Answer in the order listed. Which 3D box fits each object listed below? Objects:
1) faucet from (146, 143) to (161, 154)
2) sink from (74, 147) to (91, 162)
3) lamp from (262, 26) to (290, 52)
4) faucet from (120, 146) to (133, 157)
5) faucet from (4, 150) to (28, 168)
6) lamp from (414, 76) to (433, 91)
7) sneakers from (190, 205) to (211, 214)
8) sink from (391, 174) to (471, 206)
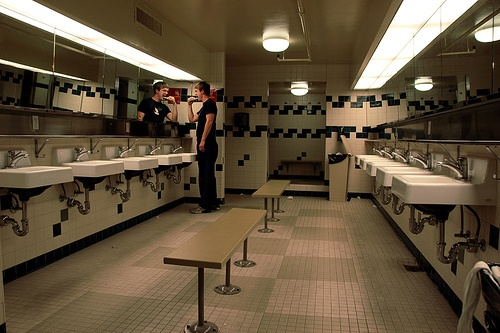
[{"bbox_3d":[-1.781,-0.317,6.420,0.194,0.175,0.562,0,9,-4],"label":"faucet"},{"bbox_3d":[-2.293,-0.160,4.730,0.154,0.152,0.226,0,1,0],"label":"sink"},{"bbox_3d":[0.481,-2.381,6.493,0.511,0.361,0.592,1,9,2],"label":"lamp"},{"bbox_3d":[-1.999,-0.246,5.544,0.153,0.173,0.427,-2,3,-7],"label":"faucet"},{"bbox_3d":[-2.651,-0.098,3.936,0.157,0.213,0.311,0,1,0],"label":"faucet"},{"bbox_3d":[2.163,-1.028,4.282,0.191,0.159,0.192,-2,6,-13],"label":"lamp"},{"bbox_3d":[-0.996,0.874,6.829,0.329,0.135,0.164,4,-2,-2],"label":"sneakers"},{"bbox_3d":[1.732,0.242,3.365,0.605,0.285,0.681,2,9,7],"label":"sink"}]
